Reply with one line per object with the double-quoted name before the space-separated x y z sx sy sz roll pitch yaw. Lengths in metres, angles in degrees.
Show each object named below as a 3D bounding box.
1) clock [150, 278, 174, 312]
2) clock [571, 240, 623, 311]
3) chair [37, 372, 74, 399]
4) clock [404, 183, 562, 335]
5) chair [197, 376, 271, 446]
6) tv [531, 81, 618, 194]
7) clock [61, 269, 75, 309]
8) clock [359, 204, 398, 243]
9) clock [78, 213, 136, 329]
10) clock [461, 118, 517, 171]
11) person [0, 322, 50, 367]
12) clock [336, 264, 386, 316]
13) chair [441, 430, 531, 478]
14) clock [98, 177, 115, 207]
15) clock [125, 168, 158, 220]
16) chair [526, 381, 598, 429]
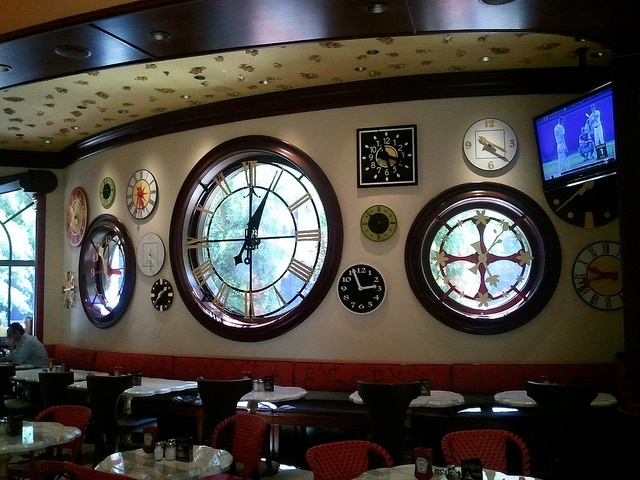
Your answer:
"clock" -2.024 0.720 7.207 0.468 0.459 0.051 3 -3 37
"clock" 2.869 0.392 5.720 0.634 0.582 0.063 21 4 8
"chair" -2.854 1.585 5.976 0.358 0.326 0.309 -2 -9 0
"clock" 1.792 0.210 6.037 1.848 1.645 0.131 -1 -5 5
"chair" -0.662 1.622 5.392 0.602 0.761 0.592 1 -6 4
"tv" 2.486 -0.953 5.378 0.135 0.907 1.286 -3 -7 -25
"clock" -3.814 0.761 8.474 0.641 0.592 0.067 -5 -3 41
"clock" 0.680 -0.175 6.243 0.480 0.427 0.049 0 -5 10
"clock" -3.020 0.468 7.973 1.840 1.744 0.173 -1 -1 36
"clock" 1.843 -1.041 6.127 0.620 0.561 0.136 -17 9 -7
"person" -4.087 1.443 7.671 0.763 0.582 0.407 -3 -5 26
"clock" 0.478 0.554 6.238 0.623 0.564 0.056 -2 -8 32
"chair" 1.234 1.591 4.317 0.485 0.563 0.432 -1 -19 5
"clock" -3.040 -0.666 7.996 0.368 0.451 0.055 -5 -5 42
"clock" -2.416 -0.608 7.583 0.591 0.702 0.031 -4 -5 32
"chair" 2.080 1.372 4.757 0.427 0.236 0.403 0 -8 3
